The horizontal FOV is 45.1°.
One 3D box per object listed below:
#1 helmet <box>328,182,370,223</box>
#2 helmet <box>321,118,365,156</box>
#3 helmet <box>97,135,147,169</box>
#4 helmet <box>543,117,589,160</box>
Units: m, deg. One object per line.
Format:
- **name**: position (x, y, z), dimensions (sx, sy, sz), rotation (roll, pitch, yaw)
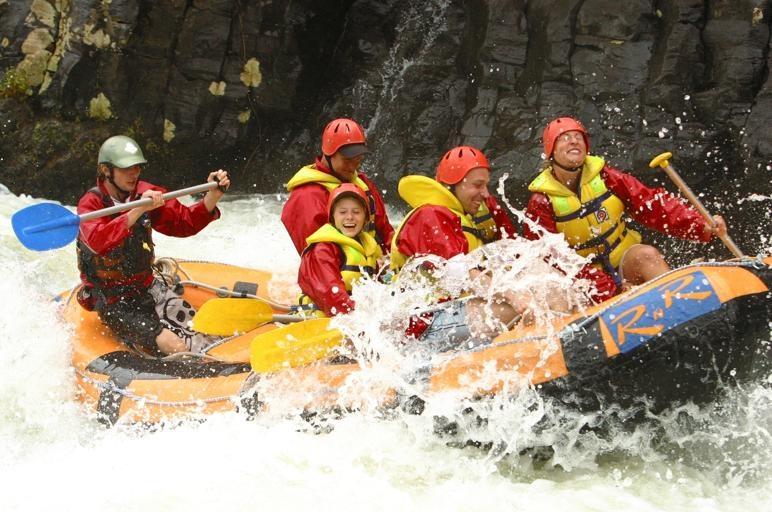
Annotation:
- **helmet**: position (-0.350, -0.475, 8.593), dimensions (0.310, 0.391, 0.313), rotation (2, 3, -1)
- **helmet**: position (-0.331, -1.185, 9.159), dimensions (0.331, 0.298, 0.395), rotation (-11, 18, -9)
- **helmet**: position (-2.534, -1.017, 8.995), dimensions (0.552, 0.284, 0.420), rotation (9, 17, 38)
- **helmet**: position (1.676, -1.065, 8.773), dimensions (0.344, 0.439, 0.346), rotation (-2, 18, -5)
